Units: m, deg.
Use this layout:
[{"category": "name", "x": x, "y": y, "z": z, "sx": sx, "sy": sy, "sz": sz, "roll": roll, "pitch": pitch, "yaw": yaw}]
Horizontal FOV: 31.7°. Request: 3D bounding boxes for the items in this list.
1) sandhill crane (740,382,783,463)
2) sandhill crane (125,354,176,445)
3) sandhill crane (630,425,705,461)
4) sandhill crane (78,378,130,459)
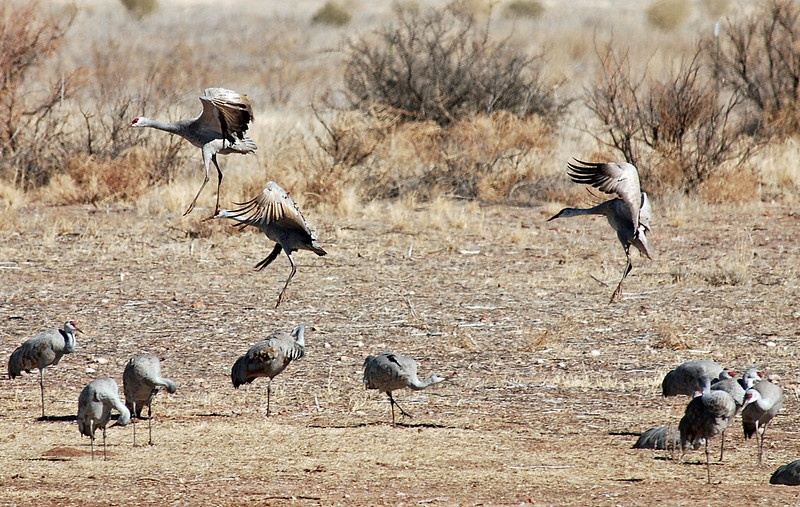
[{"category": "sandhill crane", "x": 6.066, "y": 2.811, "z": 23.821, "sx": 0.646, "sy": 1.312, "sz": 0.766, "roll": 11, "pitch": 16, "yaw": 35}, {"category": "sandhill crane", "x": -4.375, "y": 2.486, "z": 24.500, "sx": 0.797, "sy": 1.469, "sz": 1.187, "roll": -1, "pitch": 13, "yaw": -11}, {"category": "sandhill crane", "x": 4.482, "y": 3.220, "z": 23.813, "sx": 1.049, "sy": 0.561, "sz": 0.492, "roll": 1, "pitch": 4, "yaw": 1}, {"category": "sandhill crane", "x": -5.073, "y": 2.776, "z": 23.904, "sx": 0.721, "sy": 1.289, "sz": 0.802, "roll": -8, "pitch": 16, "yaw": -36}]
